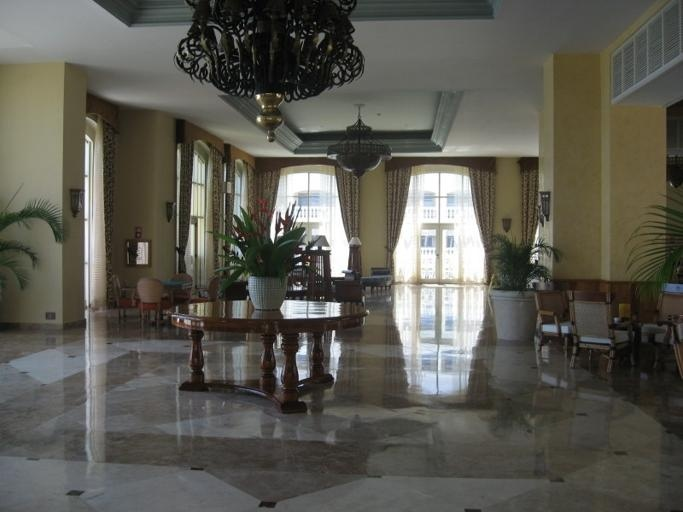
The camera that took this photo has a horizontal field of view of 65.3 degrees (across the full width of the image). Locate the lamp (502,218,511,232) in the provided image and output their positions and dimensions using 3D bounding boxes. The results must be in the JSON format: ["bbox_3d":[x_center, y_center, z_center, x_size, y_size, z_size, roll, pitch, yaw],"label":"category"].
[{"bbox_3d":[5.535,-1.021,18.133,0.361,0.498,0.385,0,1,-3],"label":"lamp"}]

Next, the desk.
[{"bbox_3d":[-0.799,1.003,5.598,1.906,0.978,2.056,2,1,3],"label":"desk"}]

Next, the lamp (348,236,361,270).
[{"bbox_3d":[0.448,-0.056,17.879,0.435,1.156,0.770,0,2,0],"label":"lamp"}]

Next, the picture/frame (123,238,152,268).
[{"bbox_3d":[-4.458,-0.034,11.704,0.560,0.676,0.062,0,0,3],"label":"picture/frame"}]

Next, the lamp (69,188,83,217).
[{"bbox_3d":[-4.526,-0.896,9.127,0.120,0.501,0.240,1,3,22],"label":"lamp"}]

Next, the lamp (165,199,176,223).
[{"bbox_3d":[-3.950,-0.993,12.318,0.160,0.494,0.550,0,3,-9],"label":"lamp"}]

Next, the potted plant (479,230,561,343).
[{"bbox_3d":[2.610,0.557,8.681,1.432,1.952,1.377,3,-6,-9],"label":"potted plant"}]

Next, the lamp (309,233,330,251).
[{"bbox_3d":[-0.603,-0.217,15.415,0.667,0.678,0.717,0,-5,2],"label":"lamp"}]

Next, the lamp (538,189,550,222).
[{"bbox_3d":[3.285,-0.784,8.602,0.125,0.487,0.494,1,3,12],"label":"lamp"}]

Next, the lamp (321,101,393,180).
[{"bbox_3d":[0.349,-2.659,12.225,1.508,2.174,1.520,-1,3,1],"label":"lamp"}]

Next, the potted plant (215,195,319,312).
[{"bbox_3d":[-0.711,0.047,5.342,0.929,1.070,0.840,0,8,-44],"label":"potted plant"}]
